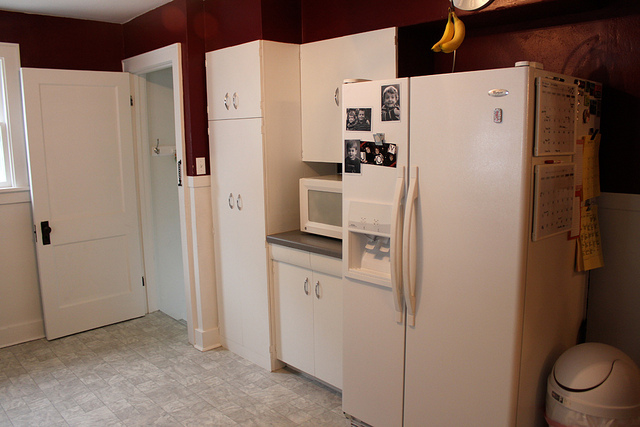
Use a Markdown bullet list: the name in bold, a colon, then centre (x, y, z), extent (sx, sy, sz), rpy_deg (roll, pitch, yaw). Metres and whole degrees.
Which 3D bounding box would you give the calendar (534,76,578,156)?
- **calendar**: centre (1.411, -0.569, 2.808), extent (0.497, 0.473, 0.110), rpy_deg (-14, 18, -41)

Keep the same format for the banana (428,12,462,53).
- **banana**: centre (0.864, -1.241, 3.223), extent (0.098, 0.308, 0.198), rpy_deg (24, 4, -20)

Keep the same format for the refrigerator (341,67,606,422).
- **refrigerator**: centre (0.977, 0.342, 3.058), extent (1.680, 2.434, 0.858), rpy_deg (-1, 14, 2)

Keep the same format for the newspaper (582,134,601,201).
- **newspaper**: centre (1.765, -0.302, 3.078), extent (0.037, 0.452, 0.397), rpy_deg (6, 9, 42)
